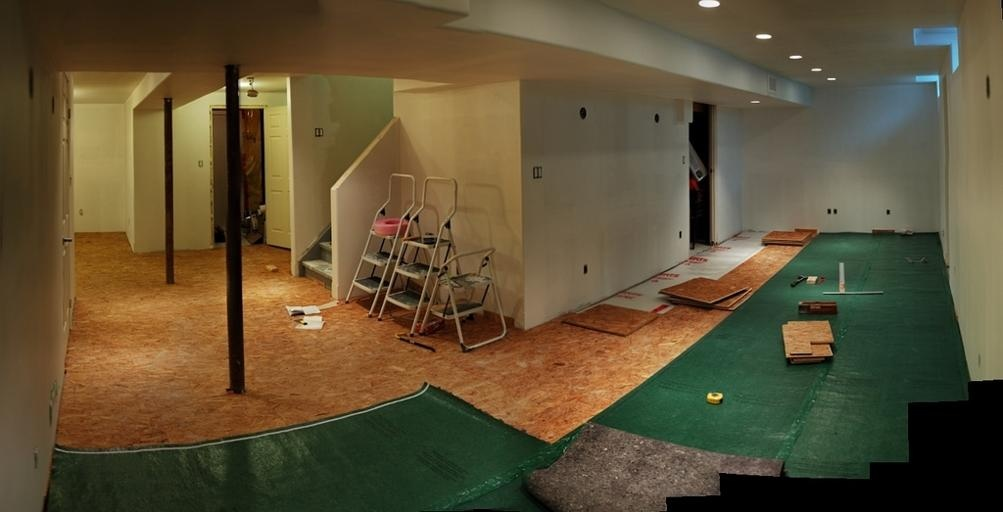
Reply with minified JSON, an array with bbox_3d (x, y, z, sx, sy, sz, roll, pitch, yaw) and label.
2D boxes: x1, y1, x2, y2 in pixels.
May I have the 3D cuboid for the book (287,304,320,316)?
[{"bbox_3d":[-3.275,0.883,9.467,0.544,0.079,0.518,-1,9,-16],"label":"book"}]

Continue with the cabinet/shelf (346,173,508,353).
[{"bbox_3d":[-1.151,0.142,9.183,1.241,2.048,2.870,-6,10,-40],"label":"cabinet/shelf"}]
